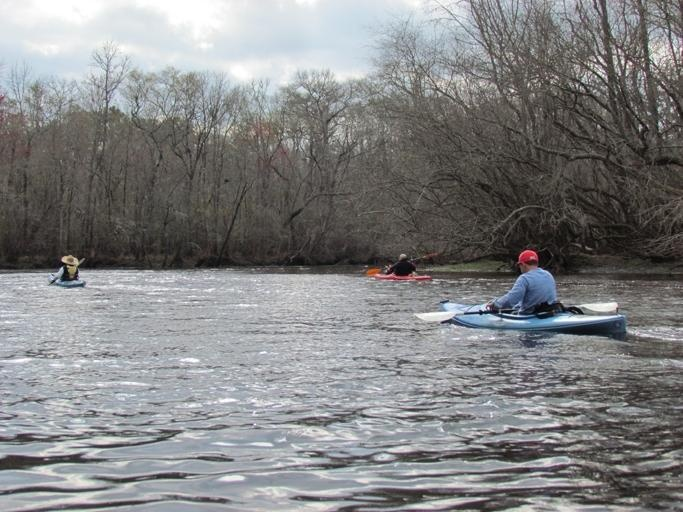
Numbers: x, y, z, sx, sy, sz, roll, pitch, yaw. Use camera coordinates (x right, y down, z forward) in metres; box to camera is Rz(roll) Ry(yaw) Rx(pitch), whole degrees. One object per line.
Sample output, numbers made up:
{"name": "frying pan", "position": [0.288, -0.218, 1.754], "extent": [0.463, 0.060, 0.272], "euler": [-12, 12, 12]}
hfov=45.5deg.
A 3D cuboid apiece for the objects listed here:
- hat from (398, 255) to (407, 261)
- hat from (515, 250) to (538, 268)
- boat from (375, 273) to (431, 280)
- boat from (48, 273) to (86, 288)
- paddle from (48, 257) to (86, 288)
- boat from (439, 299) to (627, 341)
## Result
{"name": "hat", "position": [2.175, 0.103, 28.286], "extent": [0.246, 0.179, 0.245], "euler": [-1, 9, -10]}
{"name": "hat", "position": [3.425, 0.067, 14.799], "extent": [0.524, 0.257, 0.577], "euler": [-3, 5, -7]}
{"name": "boat", "position": [2.099, 0.825, 29.235], "extent": [1.909, 0.178, 0.557], "euler": [-1, 0, 29]}
{"name": "boat", "position": [-8.366, 0.821, 25.069], "extent": [1.444, 0.177, 0.458], "euler": [8, 16, 37]}
{"name": "paddle", "position": [-8.621, 0.554, 25.779], "extent": [1.435, 0.594, 1.806], "euler": [1, 1, -21]}
{"name": "boat", "position": [3.422, 1.172, 14.691], "extent": [3.193, 0.373, 0.998], "euler": [1, 1, 30]}
